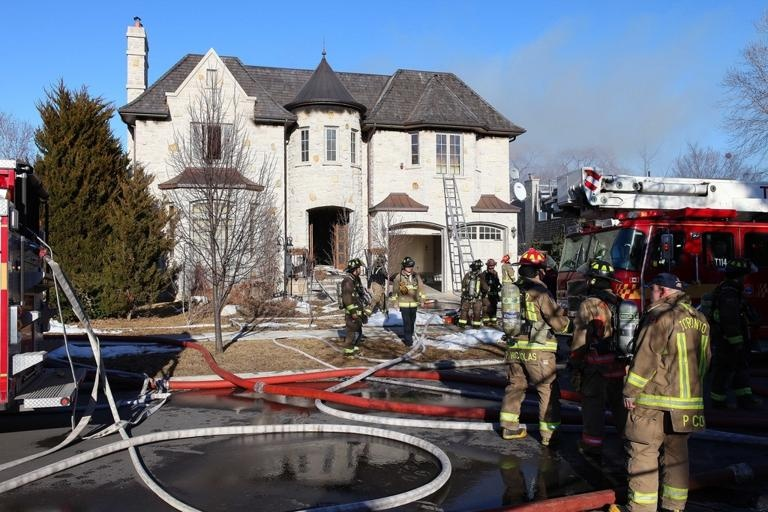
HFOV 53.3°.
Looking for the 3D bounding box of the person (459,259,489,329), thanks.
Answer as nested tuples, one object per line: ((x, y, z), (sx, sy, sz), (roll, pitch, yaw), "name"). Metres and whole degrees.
((2.220, 0.930, 18.928), (0.658, 1.656, 1.277), (1, 2, 4), "person")

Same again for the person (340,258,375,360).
((-0.627, 1.036, 15.339), (0.460, 1.924, 0.822), (0, 2, -3), "person")

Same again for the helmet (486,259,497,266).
((2.773, 0.173, 19.683), (0.284, 0.120, 0.313), (0, 0, 5), "helmet")

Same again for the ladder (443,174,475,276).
((2.873, -1.016, 28.835), (1.041, 4.178, 1.296), (0, 2, -15), "ladder")

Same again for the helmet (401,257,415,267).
((0.553, 0.134, 16.837), (0.221, 0.194, 0.246), (-1, 6, -21), "helmet")

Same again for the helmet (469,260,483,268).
((2.427, 0.209, 19.947), (0.306, 0.285, 0.122), (5, 4, 4), "helmet")

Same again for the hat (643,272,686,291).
((4.070, 0.377, 11.230), (0.568, 0.278, 0.410), (11, 2, 38), "hat")

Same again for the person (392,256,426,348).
((0.543, 0.974, 17.106), (0.661, 1.881, 1.403), (0, 2, 3), "person")

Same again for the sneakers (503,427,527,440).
((1.840, 2.478, 10.804), (0.394, 0.167, 0.140), (-2, 3, -18), "sneakers")
